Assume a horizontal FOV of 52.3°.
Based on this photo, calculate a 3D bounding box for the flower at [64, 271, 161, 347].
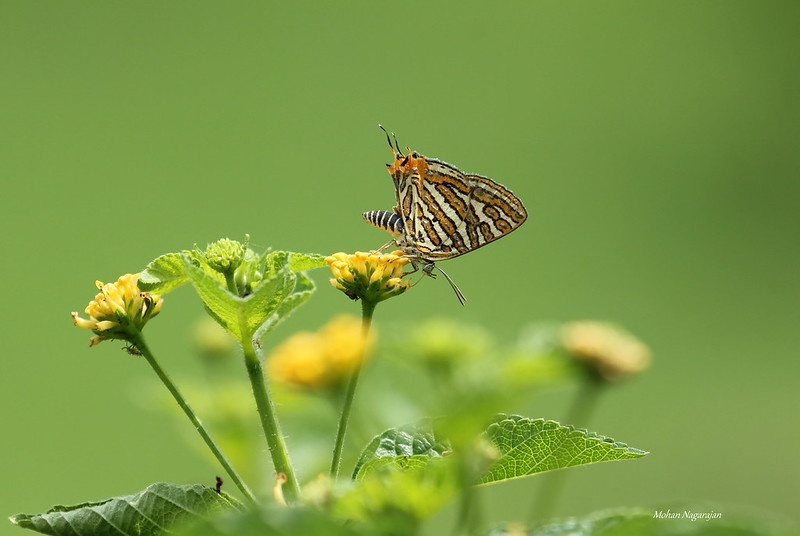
[{"bbox_3d":[-0.586,0.089,1.659,0.174,0.146,0.101,-11,-5,23],"label":"flower"}]
